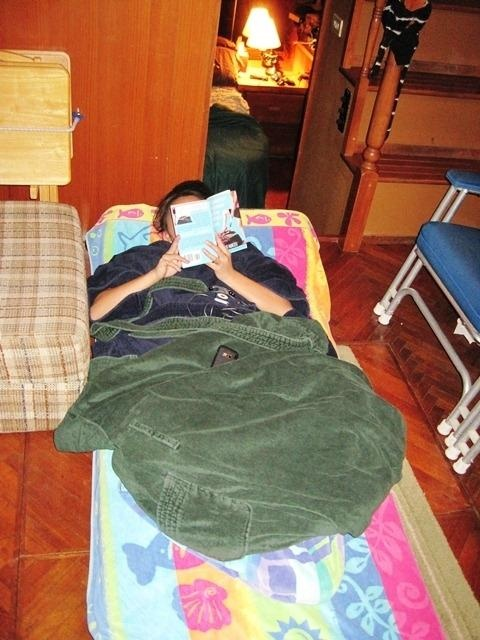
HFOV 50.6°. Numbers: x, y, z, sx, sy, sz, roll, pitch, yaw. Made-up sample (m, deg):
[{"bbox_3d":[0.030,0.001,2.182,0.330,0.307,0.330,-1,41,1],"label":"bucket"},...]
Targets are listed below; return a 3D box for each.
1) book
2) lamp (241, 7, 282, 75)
[{"bbox_3d":[-0.104,-0.269,1.495,0.064,0.225,0.238,13,30,40],"label":"book"},{"bbox_3d":[0.198,-2.281,4.156,0.334,0.462,0.312,-4,43,-17],"label":"lamp"}]
